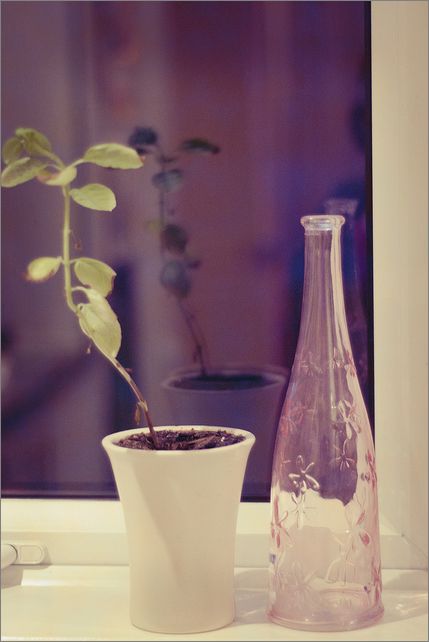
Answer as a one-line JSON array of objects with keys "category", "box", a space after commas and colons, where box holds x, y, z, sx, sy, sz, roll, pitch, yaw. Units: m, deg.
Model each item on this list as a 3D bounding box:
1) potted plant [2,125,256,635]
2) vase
[{"category": "potted plant", "box": [-0.095, 0.052, 0.792, 0.200, 0.515, 0.246, -15, 14, -31]}, {"category": "vase", "box": [0.101, 0.101, 0.773, 0.116, 0.406, 0.164, -5, 12, 10]}]
